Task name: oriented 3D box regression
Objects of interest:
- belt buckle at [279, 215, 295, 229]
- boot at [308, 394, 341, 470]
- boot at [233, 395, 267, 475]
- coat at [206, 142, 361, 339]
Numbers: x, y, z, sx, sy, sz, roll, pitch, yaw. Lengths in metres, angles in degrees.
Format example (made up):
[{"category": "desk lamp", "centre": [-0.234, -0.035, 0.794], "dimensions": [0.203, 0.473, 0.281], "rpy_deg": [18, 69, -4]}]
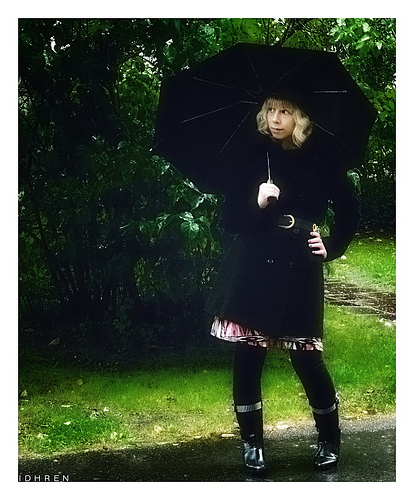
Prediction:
[{"category": "belt buckle", "centre": [0.423, -0.148, 3.068], "dimensions": [0.083, 0.071, 0.021], "rpy_deg": [-3, 3, 3]}, {"category": "boot", "centre": [0.699, 1.080, 3.406], "dimensions": [0.166, 0.472, 0.217], "rpy_deg": [-3, 3, 9]}, {"category": "boot", "centre": [0.245, 1.082, 3.301], "dimensions": [0.163, 0.477, 0.214], "rpy_deg": [-3, 3, 4]}, {"category": "coat", "centre": [0.416, -0.048, 3.169], "dimensions": [0.890, 1.081, 0.330], "rpy_deg": [-3, 3, -1]}]
